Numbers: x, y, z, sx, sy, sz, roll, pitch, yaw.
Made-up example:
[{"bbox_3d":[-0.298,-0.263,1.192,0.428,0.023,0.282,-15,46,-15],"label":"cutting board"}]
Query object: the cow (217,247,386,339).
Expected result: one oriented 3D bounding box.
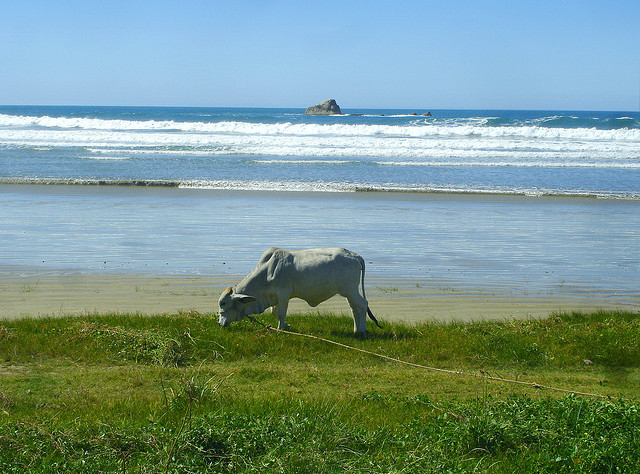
[{"bbox_3d":[-0.495,1.647,38.503,5.598,2.604,2.210,0,-5,2],"label":"cow"}]
